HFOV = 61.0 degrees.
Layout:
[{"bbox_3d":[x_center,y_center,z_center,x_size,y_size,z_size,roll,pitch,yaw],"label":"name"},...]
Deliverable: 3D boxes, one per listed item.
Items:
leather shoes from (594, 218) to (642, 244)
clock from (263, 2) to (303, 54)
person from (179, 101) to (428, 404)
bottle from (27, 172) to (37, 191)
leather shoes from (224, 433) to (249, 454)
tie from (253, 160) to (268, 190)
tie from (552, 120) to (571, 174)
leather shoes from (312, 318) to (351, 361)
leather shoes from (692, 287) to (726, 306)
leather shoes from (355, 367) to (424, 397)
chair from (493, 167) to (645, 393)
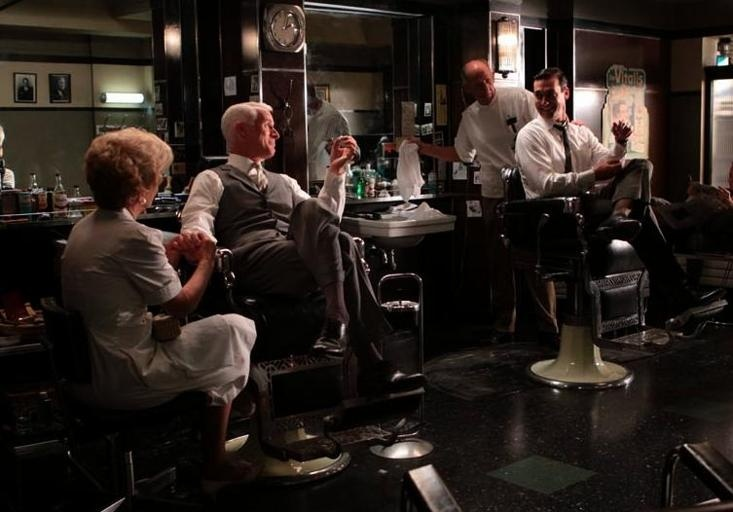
[{"bbox_3d":[1.608,-0.165,4.005,0.268,0.137,0.121,-2,24,11],"label":"leather shoes"},{"bbox_3d":[-0.672,-1.846,5.018,0.371,0.362,0.118,-9,13,-41],"label":"clock"},{"bbox_3d":[-0.363,-0.117,3.554,1.464,1.755,1.020,-4,-6,34],"label":"person"},{"bbox_3d":[-2.498,-0.569,4.674,0.064,0.119,0.221,-7,12,-27],"label":"bottle"},{"bbox_3d":[-0.734,1.069,3.569,0.061,0.062,0.203,3,6,27],"label":"leather shoes"},{"bbox_3d":[-0.648,-0.505,3.836,0.053,0.162,0.117,-12,21,12],"label":"tie"},{"bbox_3d":[1.424,-0.794,4.470,0.082,0.314,0.227,-1,-9,5],"label":"tie"},{"bbox_3d":[-0.175,0.421,3.184,0.133,0.184,0.223,1,11,17],"label":"leather shoes"},{"bbox_3d":[2.340,0.277,4.265,0.205,0.110,0.291,4,12,27],"label":"leather shoes"},{"bbox_3d":[0.124,0.610,3.144,0.286,0.114,0.141,-8,1,2],"label":"leather shoes"},{"bbox_3d":[1.470,0.166,4.490,0.890,1.387,0.961,-4,5,-22],"label":"chair"}]
